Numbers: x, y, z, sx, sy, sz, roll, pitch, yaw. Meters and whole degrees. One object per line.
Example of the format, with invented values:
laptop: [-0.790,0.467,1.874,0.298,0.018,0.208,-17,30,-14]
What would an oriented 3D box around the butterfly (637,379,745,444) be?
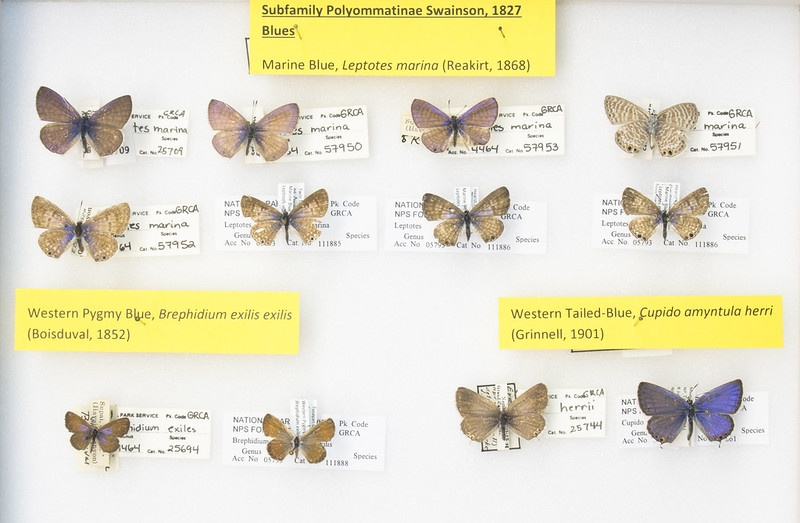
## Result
butterfly: [0.641,0.332,1.878,0.202,0.150,0.067,3,2,3]

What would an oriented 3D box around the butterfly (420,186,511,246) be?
butterfly: [0.149,-0.097,2.014,0.173,0.133,0.044,-1,-5,2]

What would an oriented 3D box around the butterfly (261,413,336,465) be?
butterfly: [-0.226,0.383,1.974,0.149,0.112,0.038,2,-3,-4]

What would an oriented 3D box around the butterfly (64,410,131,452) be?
butterfly: [-0.677,0.381,1.979,0.133,0.090,0.027,-1,12,-2]

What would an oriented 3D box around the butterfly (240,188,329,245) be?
butterfly: [-0.250,-0.095,1.961,0.170,0.132,0.118,-5,-16,-15]

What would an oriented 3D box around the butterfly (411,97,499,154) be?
butterfly: [0.123,-0.304,1.978,0.191,0.120,0.052,1,12,4]

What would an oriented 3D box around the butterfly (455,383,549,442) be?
butterfly: [0.232,0.350,1.978,0.202,0.115,0.059,-4,-33,1]

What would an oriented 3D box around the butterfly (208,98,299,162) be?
butterfly: [-0.330,-0.288,2.068,0.199,0.137,0.057,3,-2,0]

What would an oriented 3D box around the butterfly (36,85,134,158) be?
butterfly: [-0.705,-0.286,1.890,0.195,0.157,0.050,6,1,-3]
